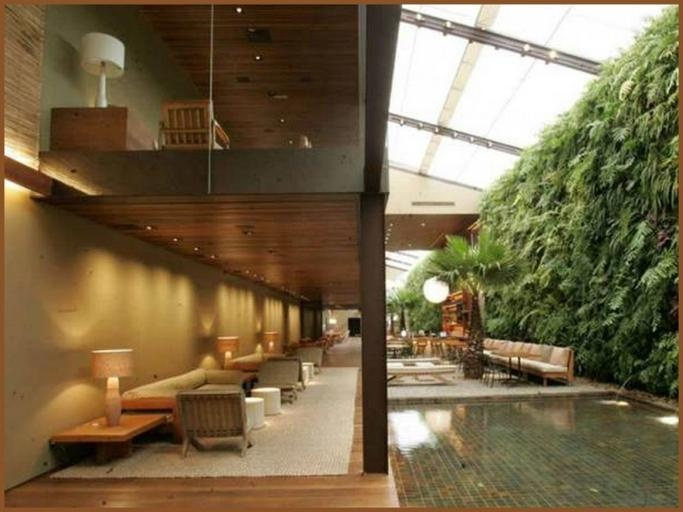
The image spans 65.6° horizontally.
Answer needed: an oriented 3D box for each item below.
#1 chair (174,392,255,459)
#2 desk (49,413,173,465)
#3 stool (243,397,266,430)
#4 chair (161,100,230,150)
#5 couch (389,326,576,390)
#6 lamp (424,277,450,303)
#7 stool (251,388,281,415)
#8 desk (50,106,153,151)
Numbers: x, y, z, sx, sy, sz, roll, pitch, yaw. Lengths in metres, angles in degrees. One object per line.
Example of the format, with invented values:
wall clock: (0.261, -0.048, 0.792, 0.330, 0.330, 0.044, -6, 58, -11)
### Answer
chair: (-1.850, 2.421, 8.100, 1.209, 1.073, 1.532, 1, -3, -15)
desk: (-3.289, 2.650, 7.727, 1.053, 0.589, 1.443, -6, -11, 16)
stool: (-1.470, 2.631, 8.966, 0.458, 0.533, 0.465, 0, -4, -21)
chair: (-2.375, -1.960, 8.452, 0.835, 0.895, 1.485, 0, 6, -1)
couch: (3.329, 3.197, 16.934, 4.363, 1.457, 10.405, -3, -11, 0)
lamp: (2.429, 0.830, 13.815, 0.596, 0.624, 0.364, -3, -9, 2)
stool: (-1.417, 2.714, 10.049, 0.451, 0.416, 0.464, 0, -1, -8)
desk: (-3.507, -1.746, 7.819, 1.262, 0.666, 0.770, 3, -1, 17)
